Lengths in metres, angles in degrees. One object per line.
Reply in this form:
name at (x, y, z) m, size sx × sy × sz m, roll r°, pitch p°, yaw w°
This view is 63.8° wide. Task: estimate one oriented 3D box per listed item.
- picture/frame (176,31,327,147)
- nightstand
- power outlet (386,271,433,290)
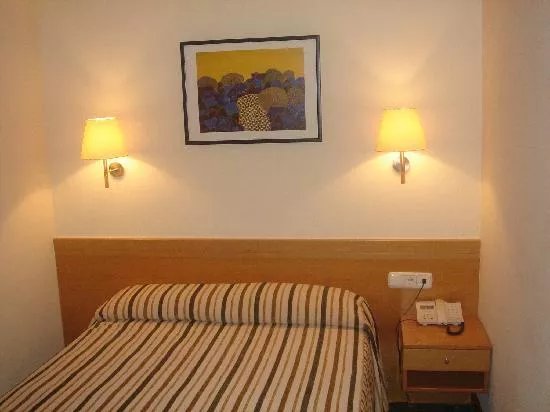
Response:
picture/frame at (-0.122, -0.787, 2.887) m, size 0.723 × 0.555 × 0.029 m, roll -1°, pitch 9°, yaw 8°
nightstand at (1.044, 0.941, 2.759) m, size 0.486 × 0.314 × 0.358 m, roll -2°, pitch 11°, yaw 10°
power outlet at (0.875, 0.497, 2.855) m, size 0.255 × 0.124 × 0.060 m, roll 1°, pitch 6°, yaw 9°
